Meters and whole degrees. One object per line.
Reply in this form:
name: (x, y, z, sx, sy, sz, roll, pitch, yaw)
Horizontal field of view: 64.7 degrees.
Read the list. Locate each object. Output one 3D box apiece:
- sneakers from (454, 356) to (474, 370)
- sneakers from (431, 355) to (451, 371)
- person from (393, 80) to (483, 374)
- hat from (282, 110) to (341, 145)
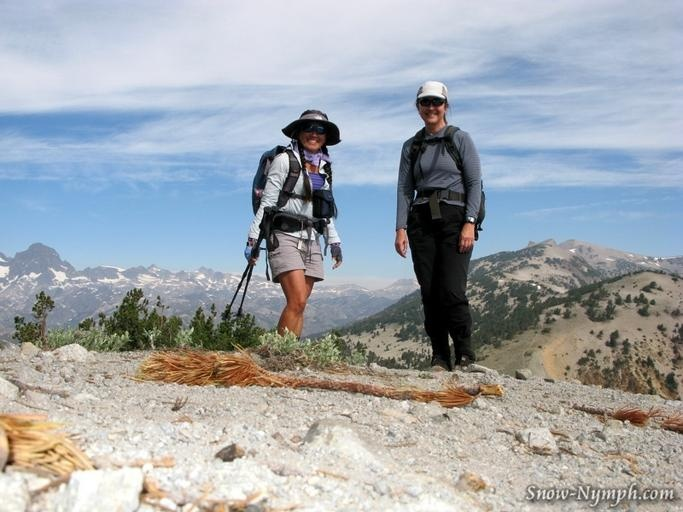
sneakers: (1.481, 1.289, 6.542, 0.217, 0.178, 0.379, 7, -6, 13)
sneakers: (1.213, 1.338, 6.693, 0.212, 0.271, 0.151, 5, 2, 42)
person: (1.213, -0.368, 6.708, 1.201, 3.450, 0.860, 7, -6, 15)
hat: (-0.332, -1.705, 6.894, 0.820, 0.270, 0.644, 13, 8, -5)
